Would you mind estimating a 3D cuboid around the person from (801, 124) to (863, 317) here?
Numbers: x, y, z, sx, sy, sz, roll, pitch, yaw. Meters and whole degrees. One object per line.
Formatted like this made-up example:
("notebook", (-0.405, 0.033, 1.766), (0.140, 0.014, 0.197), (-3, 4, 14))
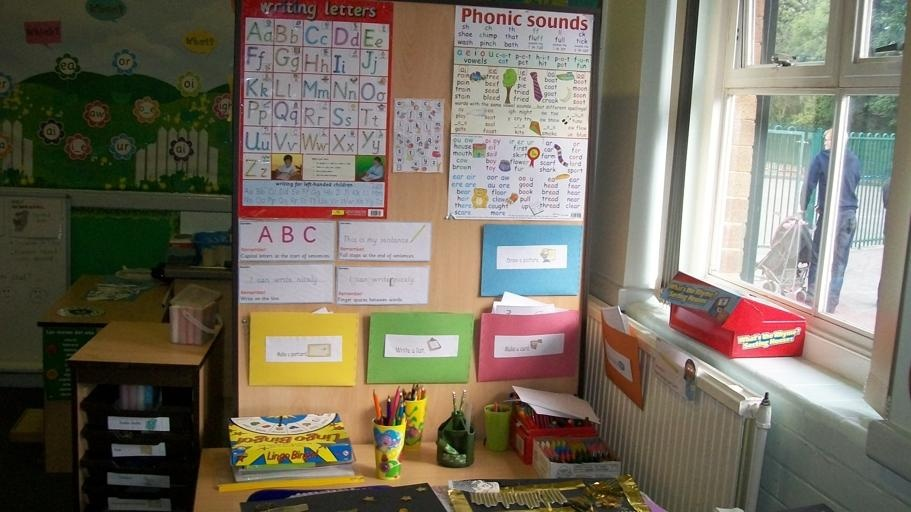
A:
("person", (1.529, -0.152, 2.752), (0.145, 0.740, 0.254), (-9, 12, -24))
